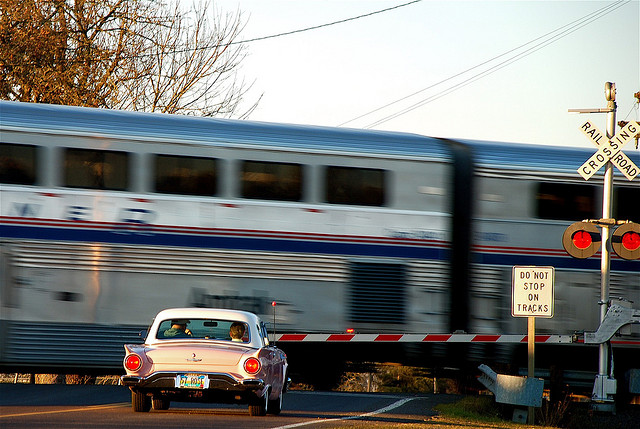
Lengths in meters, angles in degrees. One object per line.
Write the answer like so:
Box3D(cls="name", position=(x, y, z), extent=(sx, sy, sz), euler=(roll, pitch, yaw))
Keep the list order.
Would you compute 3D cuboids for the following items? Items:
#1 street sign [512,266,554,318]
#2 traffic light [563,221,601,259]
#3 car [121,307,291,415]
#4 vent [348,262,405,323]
Box3D(cls="street sign", position=(4.872, 1.771, 36.877), extent=(1.343, 1.386, 0.174), euler=(0, -5, 9))
Box3D(cls="traffic light", position=(6.272, 0.615, 38.500), extent=(0.842, 0.792, 0.188), euler=(22, -6, 9))
Box3D(cls="car", position=(-2.599, 3.236, 35.569), extent=(3.530, 2.328, 1.697), euler=(1, -10, -7))
Box3D(cls="vent", position=(1.158, 1.990, 40.623), extent=(1.992, 1.645, 1.013), euler=(3, -6, -34))
